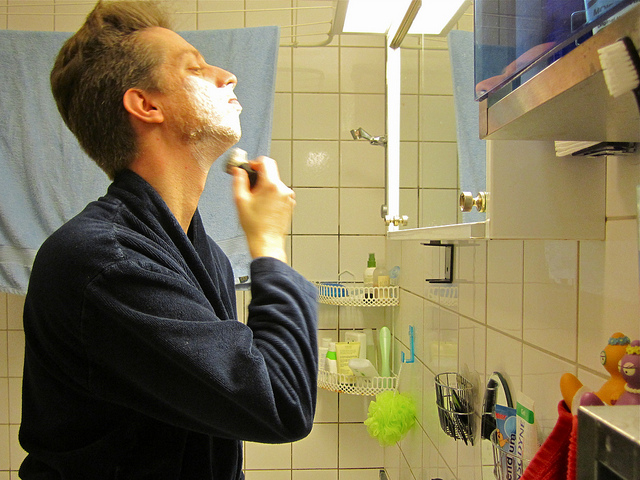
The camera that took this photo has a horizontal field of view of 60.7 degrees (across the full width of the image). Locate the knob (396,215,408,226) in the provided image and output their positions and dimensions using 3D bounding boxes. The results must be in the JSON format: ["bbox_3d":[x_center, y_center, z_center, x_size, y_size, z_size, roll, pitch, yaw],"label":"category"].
[{"bbox_3d":[0.207,-0.051,1.385,0.027,0.016,0.017,0,92,-13],"label":"knob"}]

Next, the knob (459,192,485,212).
[{"bbox_3d":[0.237,-0.061,0.860,0.033,0.024,0.025,1,85,-14],"label":"knob"}]

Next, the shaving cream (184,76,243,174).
[{"bbox_3d":[-0.181,-0.209,0.917,0.097,0.101,0.173,3,52,-16],"label":"shaving cream"}]

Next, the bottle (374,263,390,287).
[{"bbox_3d":[0.220,0.128,2.038,0.060,0.062,0.119,0,84,-3],"label":"bottle"}]
